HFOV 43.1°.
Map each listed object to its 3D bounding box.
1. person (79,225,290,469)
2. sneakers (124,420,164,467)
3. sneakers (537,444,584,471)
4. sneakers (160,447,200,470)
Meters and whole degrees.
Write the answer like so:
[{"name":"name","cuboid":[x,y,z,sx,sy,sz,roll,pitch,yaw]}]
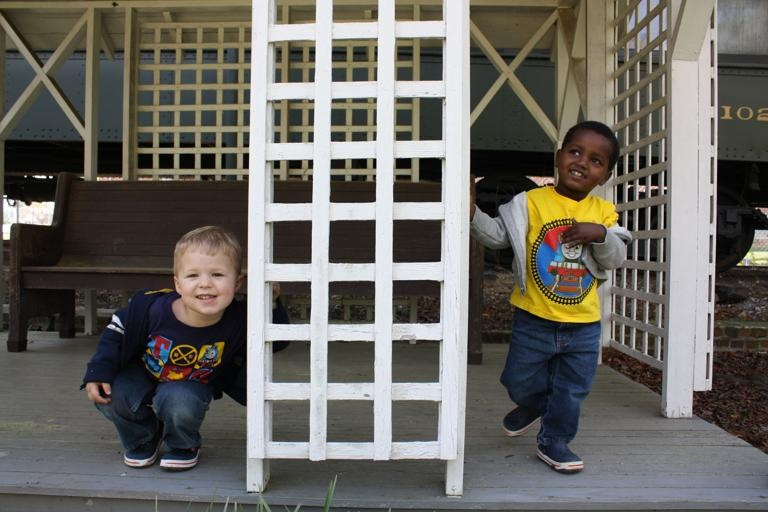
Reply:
[{"name":"person","cuboid":[-1.430,0.615,6.444,1.040,1.609,0.383,1,5,-8]},{"name":"sneakers","cuboid":[-1.609,1.312,6.560,0.132,0.146,0.377,10,2,2]},{"name":"sneakers","cuboid":[1.192,1.360,6.572,0.140,0.126,0.302,-4,9,-42]},{"name":"sneakers","cuboid":[-1.355,1.361,6.492,0.256,0.101,0.114,10,-6,-20]}]
